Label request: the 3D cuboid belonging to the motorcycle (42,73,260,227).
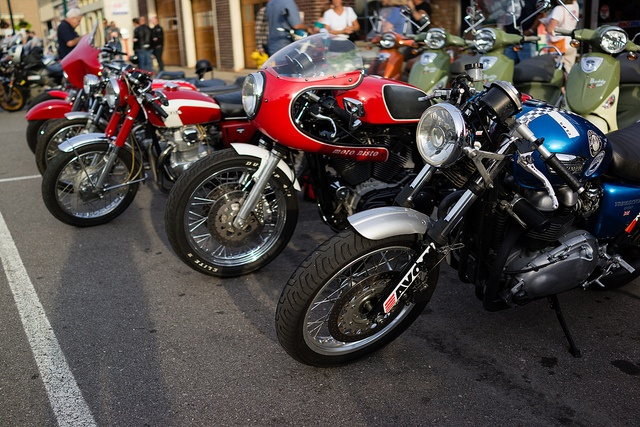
[{"bbox_3d":[-2.062,-0.913,6.178,2.970,1.488,1.142,-14,47,-33],"label":"motorcycle"}]
